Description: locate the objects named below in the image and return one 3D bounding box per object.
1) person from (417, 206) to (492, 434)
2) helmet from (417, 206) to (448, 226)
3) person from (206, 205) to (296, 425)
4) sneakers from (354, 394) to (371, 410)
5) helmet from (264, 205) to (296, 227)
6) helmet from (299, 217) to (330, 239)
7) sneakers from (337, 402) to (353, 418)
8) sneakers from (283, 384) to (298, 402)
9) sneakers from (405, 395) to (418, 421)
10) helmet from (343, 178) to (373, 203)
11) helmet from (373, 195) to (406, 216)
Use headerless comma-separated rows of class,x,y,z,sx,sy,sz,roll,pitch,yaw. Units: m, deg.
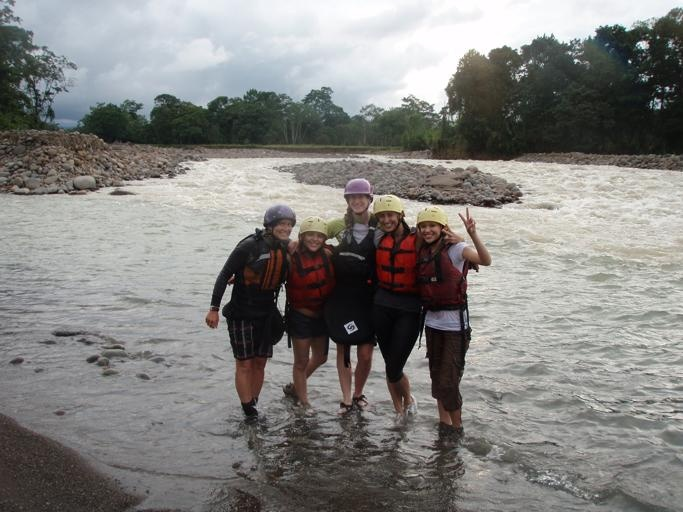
person,1.202,0.752,6.275,0.498,2.567,0.792,-7,17,-31
helmet,1.026,-0.503,6.184,0.232,0.299,0.247,-3,-9,25
person,-1.049,0.680,6.453,0.998,2.554,0.516,-2,15,-18
sneakers,0.248,1.868,6.943,0.123,0.079,0.206,-4,2,-27
helmet,-0.750,-0.477,6.423,0.341,0.262,0.259,-15,1,5
helmet,-0.324,-0.349,6.529,0.213,0.213,0.285,4,-26,-3
sneakers,0.046,1.925,6.783,0.159,0.139,0.427,-1,1,3
sneakers,-0.649,1.805,7.200,0.163,0.218,0.096,-41,-9,39
sneakers,0.885,1.906,6.781,0.109,0.318,0.138,-18,-40,42
helmet,0.212,-0.814,6.660,0.286,0.240,0.319,1,19,6
helmet,0.586,-0.625,6.483,0.315,0.230,0.235,14,-15,-26
